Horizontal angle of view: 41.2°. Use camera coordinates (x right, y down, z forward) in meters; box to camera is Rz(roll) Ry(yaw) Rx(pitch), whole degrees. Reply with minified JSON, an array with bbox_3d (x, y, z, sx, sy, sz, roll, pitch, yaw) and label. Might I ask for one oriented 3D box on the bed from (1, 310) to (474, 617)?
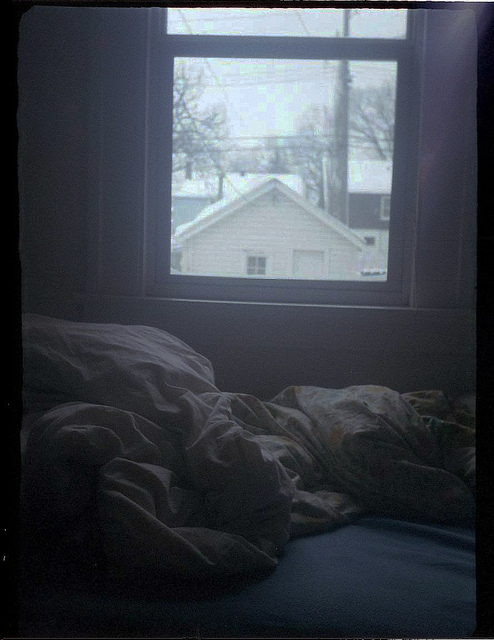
[{"bbox_3d":[-0.011,0.367,1.537,0.867,0.565,0.206,0,-8,-13],"label":"bed"}]
